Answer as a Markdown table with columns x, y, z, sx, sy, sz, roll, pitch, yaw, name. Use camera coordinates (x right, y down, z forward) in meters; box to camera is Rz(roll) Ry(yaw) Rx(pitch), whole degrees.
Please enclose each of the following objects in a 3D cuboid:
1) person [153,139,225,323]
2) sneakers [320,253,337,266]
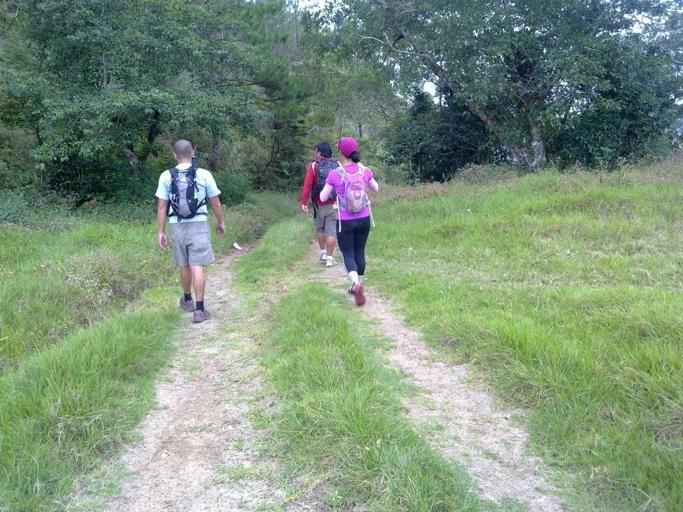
| x | y | z | sx | sy | sz | roll | pitch | yaw | name |
| --- | --- | --- | --- | --- | --- | --- | --- | --- | --- |
| -2.419 | -0.408 | 11.024 | 0.994 | 2.887 | 0.725 | -4 | 6 | -16 | person |
| -0.313 | 0.061 | 13.663 | 0.139 | 0.202 | 0.411 | 0 | 14 | 9 | sneakers |
